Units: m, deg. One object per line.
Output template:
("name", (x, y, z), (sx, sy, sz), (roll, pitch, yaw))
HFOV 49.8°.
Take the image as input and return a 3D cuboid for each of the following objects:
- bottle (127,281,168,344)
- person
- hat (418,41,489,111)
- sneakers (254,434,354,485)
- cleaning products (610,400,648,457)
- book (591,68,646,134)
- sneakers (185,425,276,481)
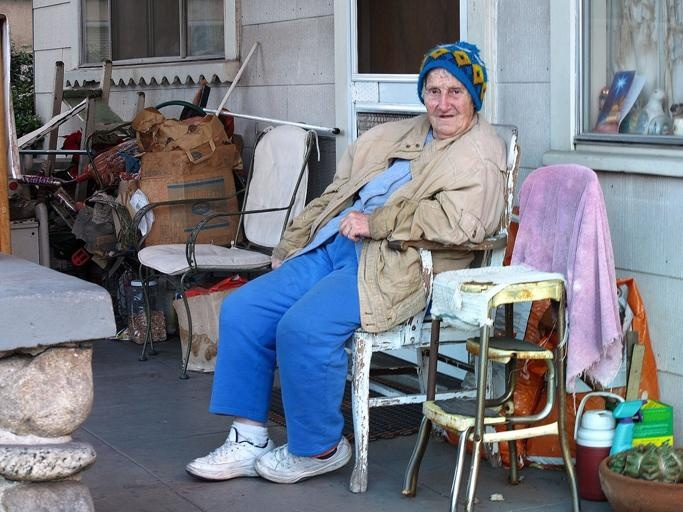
("bottle", (-1.341, 0.376, 5.142), (0.248, 0.425, 0.294), (0, 3, 6))
("person", (-0.031, 0.045, 3.333), (1.154, 2.128, 1.089), (-2, 4, -32))
("hat", (0.494, -0.798, 3.244), (0.235, 0.342, 0.227), (13, 18, 42))
("sneakers", (-0.166, 0.832, 3.118), (0.379, 0.172, 0.177), (-10, -36, -7))
("cleaning products", (1.114, 0.662, 2.868), (0.110, 0.247, 0.054), (-2, 24, 9))
("book", (1.239, -0.688, 3.273), (0.070, 0.303, 0.158), (23, -4, -38))
("sneakers", (-0.464, 0.848, 3.124), (0.476, 0.196, 0.202), (0, 2, -22))
